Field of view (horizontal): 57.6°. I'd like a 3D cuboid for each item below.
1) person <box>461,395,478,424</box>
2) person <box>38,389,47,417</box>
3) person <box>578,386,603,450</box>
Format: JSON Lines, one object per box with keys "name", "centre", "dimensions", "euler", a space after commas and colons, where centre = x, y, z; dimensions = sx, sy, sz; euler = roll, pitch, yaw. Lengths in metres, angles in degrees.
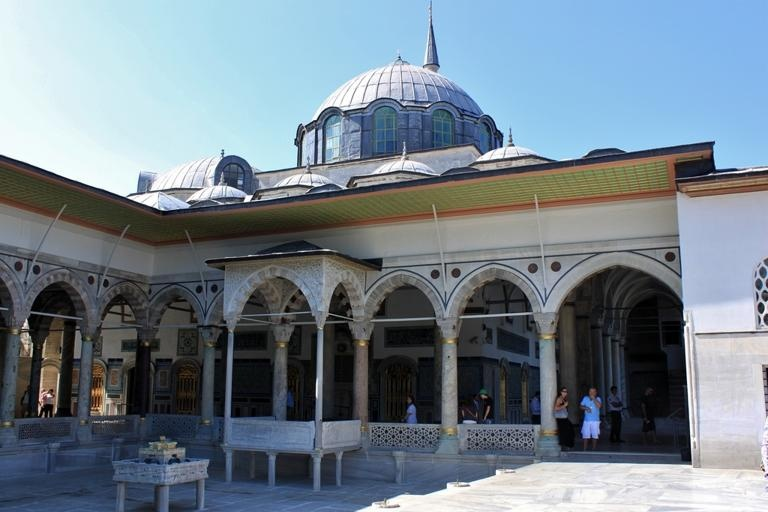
{"name": "person", "centre": [1.833, 3.328, 15.078], "dimensions": [0.301, 0.566, 0.820], "euler": [0, -5, 8]}
{"name": "person", "centre": [-10.201, 4.481, 21.050], "dimensions": [0.197, 0.772, 1.465], "euler": [3, -5, -26]}
{"name": "person", "centre": [4.258, 3.354, 14.486], "dimensions": [0.381, 1.312, 1.286], "euler": [-1, -5, 15]}
